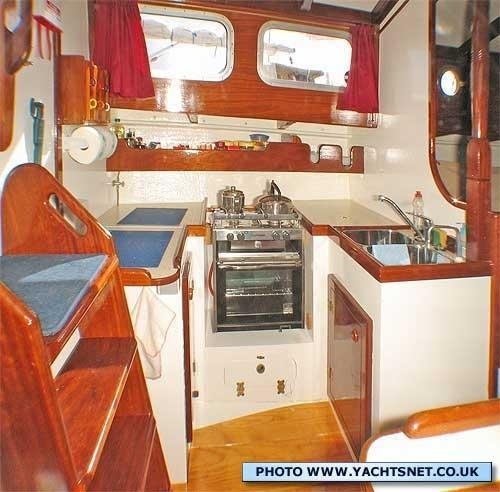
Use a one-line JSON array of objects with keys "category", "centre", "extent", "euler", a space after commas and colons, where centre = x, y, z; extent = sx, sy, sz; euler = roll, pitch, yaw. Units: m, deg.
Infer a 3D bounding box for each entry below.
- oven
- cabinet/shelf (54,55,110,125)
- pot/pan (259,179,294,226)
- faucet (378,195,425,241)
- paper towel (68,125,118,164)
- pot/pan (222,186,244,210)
[{"category": "oven", "centre": [0.047, 0.209, 3.045], "extent": [0.571, 0.671, 0.465], "euler": [-1, 6, -2]}, {"category": "cabinet/shelf", "centre": [-0.839, -0.768, 2.322], "extent": [0.157, 0.328, 0.495], "euler": [-3, 9, -7]}, {"category": "pot/pan", "centre": [0.163, -0.275, 3.029], "extent": [0.184, 0.266, 0.351], "euler": [-1, 15, -3]}, {"category": "faucet", "centre": [0.796, -0.171, 2.402], "extent": [0.217, 0.224, 0.721], "euler": [2, 10, 19]}, {"category": "paper towel", "centre": [-0.812, -0.523, 2.325], "extent": [0.236, 0.200, 0.484], "euler": [-5, 10, -19]}, {"category": "pot/pan", "centre": [-0.107, -0.313, 2.958], "extent": [0.110, 0.161, 0.158], "euler": [0, 15, -3]}]
